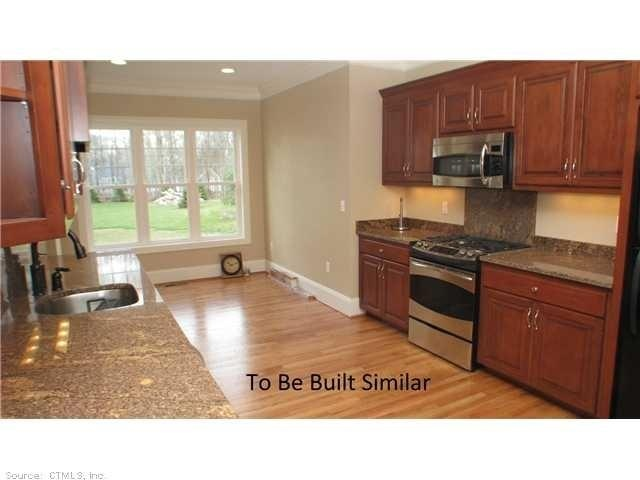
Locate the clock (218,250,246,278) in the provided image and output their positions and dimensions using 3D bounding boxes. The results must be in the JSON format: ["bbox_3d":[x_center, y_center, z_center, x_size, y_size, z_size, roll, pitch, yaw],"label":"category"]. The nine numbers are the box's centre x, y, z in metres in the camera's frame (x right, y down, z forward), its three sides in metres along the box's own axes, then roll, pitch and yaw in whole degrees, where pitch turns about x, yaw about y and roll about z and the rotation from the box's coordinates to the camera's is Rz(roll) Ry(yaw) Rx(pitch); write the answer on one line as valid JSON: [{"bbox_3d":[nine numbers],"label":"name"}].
[{"bbox_3d":[-1.146,0.328,6.083,0.329,0.299,0.196,-5,13,-19],"label":"clock"}]

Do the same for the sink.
[{"bbox_3d":[-1.284,0.338,2.558,0.304,0.091,0.234,-3,9,-32],"label":"sink"}]

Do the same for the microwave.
[{"bbox_3d":[1.113,-0.581,3.430,0.405,0.384,0.639,-5,10,-28],"label":"microwave"}]
